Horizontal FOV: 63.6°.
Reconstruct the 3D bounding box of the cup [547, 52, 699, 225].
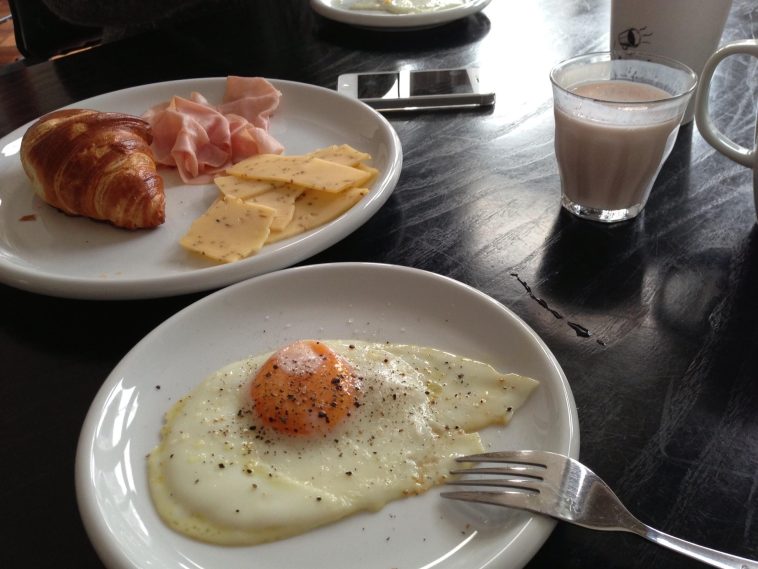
[{"bbox_3d":[0.457,-0.323,1.350,0.291,0.317,0.323,-8,28,-7],"label":"cup"}]
